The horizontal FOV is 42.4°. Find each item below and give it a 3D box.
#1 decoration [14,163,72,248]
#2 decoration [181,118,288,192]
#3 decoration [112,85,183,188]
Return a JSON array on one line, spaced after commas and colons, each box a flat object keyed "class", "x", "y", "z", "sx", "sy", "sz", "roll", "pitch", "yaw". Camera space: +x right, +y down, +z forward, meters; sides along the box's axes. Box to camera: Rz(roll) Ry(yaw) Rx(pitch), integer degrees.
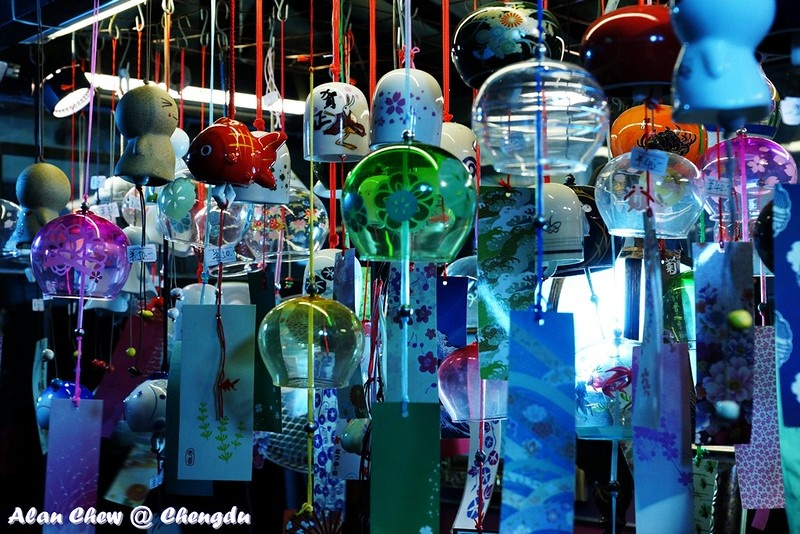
[{"class": "decoration", "x": -1.355, "y": -0.265, "z": 3.891, "sx": 0.168, "sy": 0.333, "sz": 0.201, "roll": 13, "pitch": 11, "yaw": -8}, {"class": "decoration", "x": -0.527, "y": -0.360, "z": 3.373, "sx": 0.287, "sy": 0.251, "sz": 0.203, "roll": 4, "pitch": -14, "yaw": -19}, {"class": "decoration", "x": -0.881, "y": -0.452, "z": 3.565, "sx": 0.200, "sy": 0.369, "sz": 0.232, "roll": -4, "pitch": -11, "yaw": 6}]
